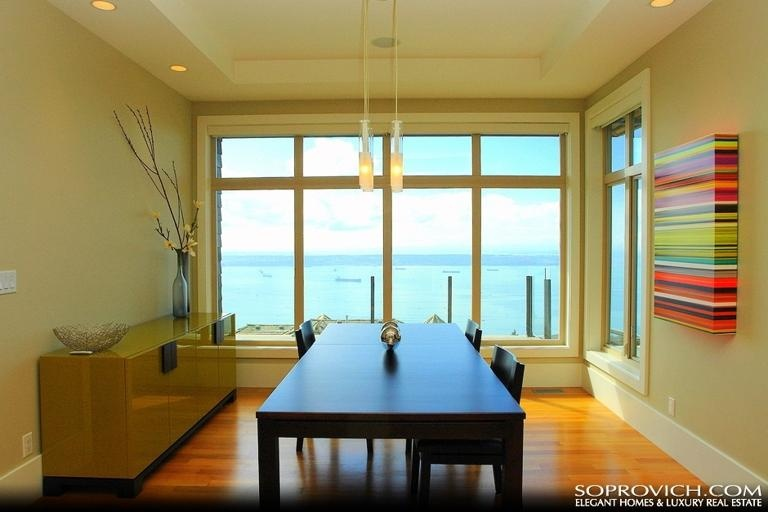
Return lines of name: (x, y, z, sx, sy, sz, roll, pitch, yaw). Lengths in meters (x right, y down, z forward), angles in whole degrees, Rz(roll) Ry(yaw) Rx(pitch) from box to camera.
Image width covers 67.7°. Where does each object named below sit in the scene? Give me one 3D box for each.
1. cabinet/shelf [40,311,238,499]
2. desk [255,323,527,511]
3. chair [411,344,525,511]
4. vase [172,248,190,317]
cabinet/shelf: (-2.128, 1.275, 5.132, 0.726, 1.333, 1.514, 0, -2, 25)
desk: (0.159, 1.230, 4.497, 1.783, 1.020, 1.578, 1, -2, 11)
chair: (0.615, 1.367, 4.997, 1.150, 1.570, 1.110, 1, -5, 2)
vase: (-2.089, 0.290, 5.907, 0.153, 0.679, 0.295, 2, -2, -20)
